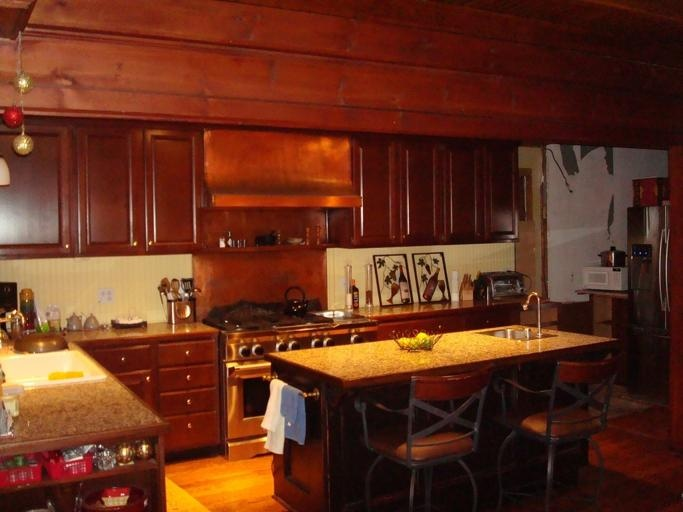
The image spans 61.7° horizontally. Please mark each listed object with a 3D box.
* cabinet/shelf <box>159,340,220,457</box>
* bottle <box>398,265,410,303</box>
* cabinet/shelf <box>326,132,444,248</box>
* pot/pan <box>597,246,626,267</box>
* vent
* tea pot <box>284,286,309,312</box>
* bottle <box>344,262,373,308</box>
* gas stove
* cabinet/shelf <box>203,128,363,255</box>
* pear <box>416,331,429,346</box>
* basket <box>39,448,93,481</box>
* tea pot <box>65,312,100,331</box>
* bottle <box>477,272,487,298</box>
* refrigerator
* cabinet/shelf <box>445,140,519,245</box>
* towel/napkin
[{"bbox_3d":[-1.403,1.152,5.091,0.548,0.980,0.638,-2,13,-17],"label":"cabinet/shelf"},{"bbox_3d":[0.703,0.309,6.390,0.119,0.347,0.074,-4,1,-1],"label":"bottle"},{"bbox_3d":[0.392,-0.686,5.734,1.096,1.052,0.396,-1,-1,-27],"label":"cabinet/shelf"},{"bbox_3d":[3.238,-0.004,6.893,0.294,0.227,0.219,-2,4,-1],"label":"pot/pan"},{"bbox_3d":[-0.546,-0.802,5.245,1.409,0.729,0.335,-1,3,-13],"label":"vent"},{"bbox_3d":[-0.453,0.441,5.630,0.183,0.291,0.276,-1,-5,-4],"label":"tea pot"},{"bbox_3d":[0.177,0.304,6.129,0.193,0.417,0.444,-3,2,39],"label":"bottle"},{"bbox_3d":[-0.509,0.704,5.398,1.459,0.394,0.801,-5,2,-23],"label":"gas stove"},{"bbox_3d":[-0.675,-0.653,5.594,1.986,1.415,0.956,-1,0,-25],"label":"cabinet/shelf"},{"bbox_3d":[0.559,0.572,4.018,0.067,0.041,0.071,3,6,38],"label":"pear"},{"bbox_3d":[-1.155,0.861,2.424,0.134,0.091,0.138,-2,4,-28],"label":"basket"},{"bbox_3d":[-2.266,0.579,4.983,0.245,0.155,0.143,1,-2,-31],"label":"tea pot"},{"bbox_3d":[1.644,0.343,6.664,0.121,0.218,0.103,-3,1,21],"label":"bottle"},{"bbox_3d":[3.450,0.141,6.413,0.414,1.398,0.185,-3,2,35],"label":"refrigerator"},{"bbox_3d":[1.493,-0.730,6.231,1.035,1.008,0.366,-3,5,-26],"label":"cabinet/shelf"},{"bbox_3d":[-0.359,1.020,3.640,0.355,0.421,0.148,-3,2,33],"label":"towel/napkin"}]
